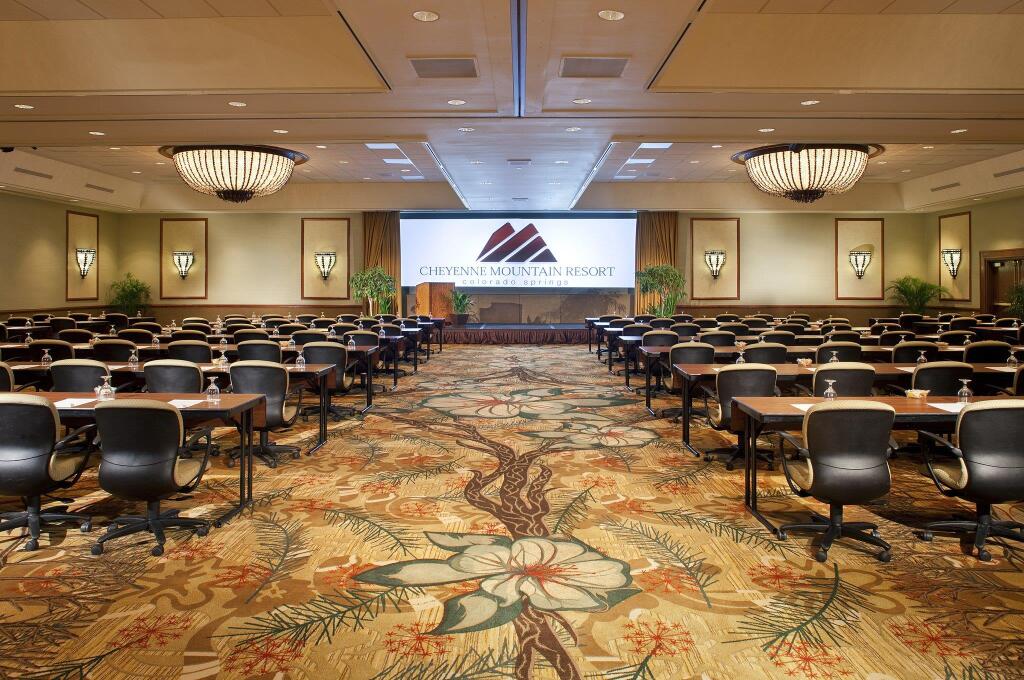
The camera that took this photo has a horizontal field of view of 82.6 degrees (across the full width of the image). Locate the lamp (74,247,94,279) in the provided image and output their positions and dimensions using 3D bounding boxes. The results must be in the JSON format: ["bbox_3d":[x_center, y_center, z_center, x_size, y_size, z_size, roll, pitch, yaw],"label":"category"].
[{"bbox_3d":[-11.650,-2.218,16.607,0.260,0.820,0.699,-3,13,-13],"label":"lamp"}]

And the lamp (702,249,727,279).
[{"bbox_3d":[6.336,-2.440,18.431,0.673,0.882,0.196,1,14,7],"label":"lamp"}]

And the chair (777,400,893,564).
[{"bbox_3d":[2.582,1.071,4.649,0.799,1.291,0.504,1,14,5],"label":"chair"}]

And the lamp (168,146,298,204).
[{"bbox_3d":[-4.860,-3.131,10.793,1.702,0.406,1.443,-1,2,-16],"label":"lamp"}]

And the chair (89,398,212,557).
[{"bbox_3d":[-2.821,1.054,4.714,0.876,1.282,0.558,-4,14,-17],"label":"chair"}]

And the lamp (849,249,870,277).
[{"bbox_3d":[10.706,-2.438,18.295,0.581,0.844,0.209,4,15,16],"label":"lamp"}]

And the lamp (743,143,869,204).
[{"bbox_3d":[5.294,-3.153,10.674,1.681,0.432,1.411,-1,1,-1],"label":"lamp"}]
